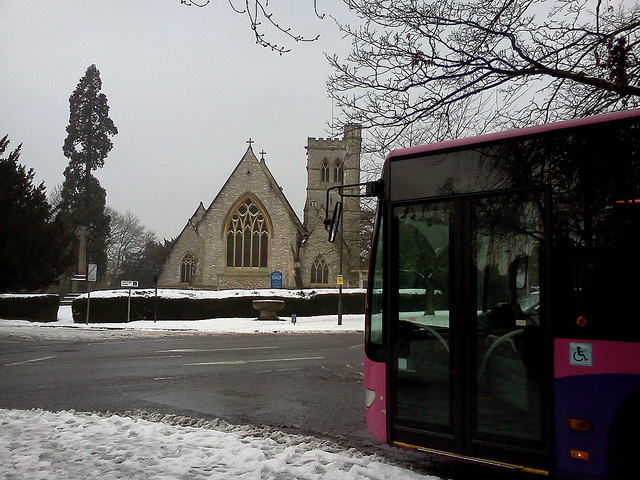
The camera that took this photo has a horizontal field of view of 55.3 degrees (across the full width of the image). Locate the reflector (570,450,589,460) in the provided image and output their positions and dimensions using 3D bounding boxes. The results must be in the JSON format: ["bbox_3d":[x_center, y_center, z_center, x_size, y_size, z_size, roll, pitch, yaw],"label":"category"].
[{"bbox_3d":[2.641,2.203,6.218,0.177,0.075,0.018,-4,-8,29],"label":"reflector"}]

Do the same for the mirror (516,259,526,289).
[{"bbox_3d":[2.213,0.381,6.717,0.114,0.308,0.019,-6,-10,43],"label":"mirror"}]

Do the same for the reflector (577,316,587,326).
[{"bbox_3d":[2.704,0.848,6.306,0.085,0.096,0.006,-5,-9,33],"label":"reflector"}]

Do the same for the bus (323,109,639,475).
[{"bbox_3d":[2.849,0.732,7.860,3.501,2.830,3.551,-13,-19,43],"label":"bus"}]
